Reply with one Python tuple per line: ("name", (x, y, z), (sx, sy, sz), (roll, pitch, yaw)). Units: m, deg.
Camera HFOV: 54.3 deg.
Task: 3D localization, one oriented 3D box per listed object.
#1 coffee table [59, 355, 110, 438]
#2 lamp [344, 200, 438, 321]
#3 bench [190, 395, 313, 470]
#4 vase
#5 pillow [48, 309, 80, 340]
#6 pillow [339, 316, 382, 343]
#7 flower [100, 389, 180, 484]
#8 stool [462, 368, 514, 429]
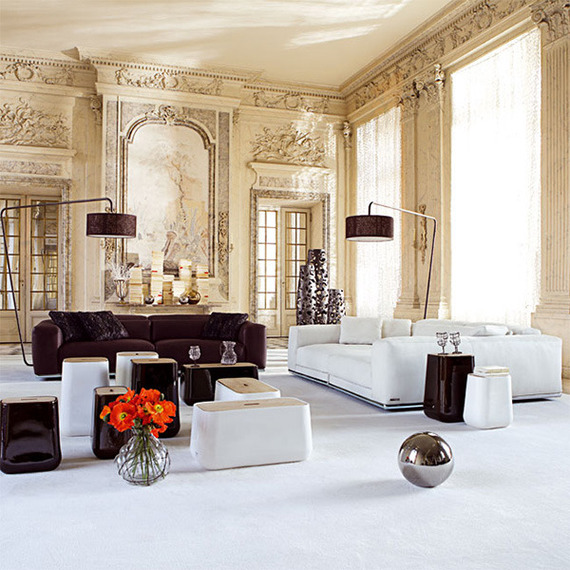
("coffee table", (-1.348, 0.791, 3.619), (0.385, 0.542, 0.358), (2, -29, -19))
("lamp", (1.421, -0.347, 6.956), (0.688, 1.625, 2.893), (0, -1, 20))
("bench", (-0.183, 0.809, 3.080), (0.693, 0.298, 0.366), (1, -2, -22))
("vase", (-0.681, 0.816, 2.687), (0.258, 0.300, 0.232), (3, -22, -10))
("pillow", (-2.328, 0.439, 5.919), (0.224, 0.233, 0.387), (0, -1, 22))
("pillow", (0.804, 0.479, 5.871), (0.314, 0.202, 0.101), (1, -37, 10))
("flower", (-0.685, 0.702, 2.573), (0.310, 0.454, 0.266), (1, -1, -17))
("stool", (1.382, 0.755, 3.818), (0.307, 0.403, 0.317), (4, 4, 43))
